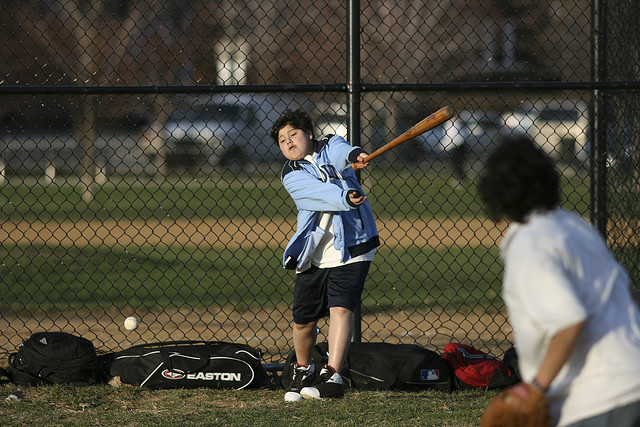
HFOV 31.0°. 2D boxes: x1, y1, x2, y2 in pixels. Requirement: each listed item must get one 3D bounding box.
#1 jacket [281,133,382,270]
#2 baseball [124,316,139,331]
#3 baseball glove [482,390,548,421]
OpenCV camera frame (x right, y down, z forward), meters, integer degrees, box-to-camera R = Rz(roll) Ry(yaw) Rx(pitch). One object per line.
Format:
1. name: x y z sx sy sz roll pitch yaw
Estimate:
1. jacket: 0.160 -0.153 18.175 1.471 2.051 0.735 -1 12 -3
2. baseball: -3.161 1.900 19.420 0.221 0.260 0.267 -1 12 -1
3. baseball glove: 2.770 2.750 16.136 0.703 0.446 0.550 2 13 11
